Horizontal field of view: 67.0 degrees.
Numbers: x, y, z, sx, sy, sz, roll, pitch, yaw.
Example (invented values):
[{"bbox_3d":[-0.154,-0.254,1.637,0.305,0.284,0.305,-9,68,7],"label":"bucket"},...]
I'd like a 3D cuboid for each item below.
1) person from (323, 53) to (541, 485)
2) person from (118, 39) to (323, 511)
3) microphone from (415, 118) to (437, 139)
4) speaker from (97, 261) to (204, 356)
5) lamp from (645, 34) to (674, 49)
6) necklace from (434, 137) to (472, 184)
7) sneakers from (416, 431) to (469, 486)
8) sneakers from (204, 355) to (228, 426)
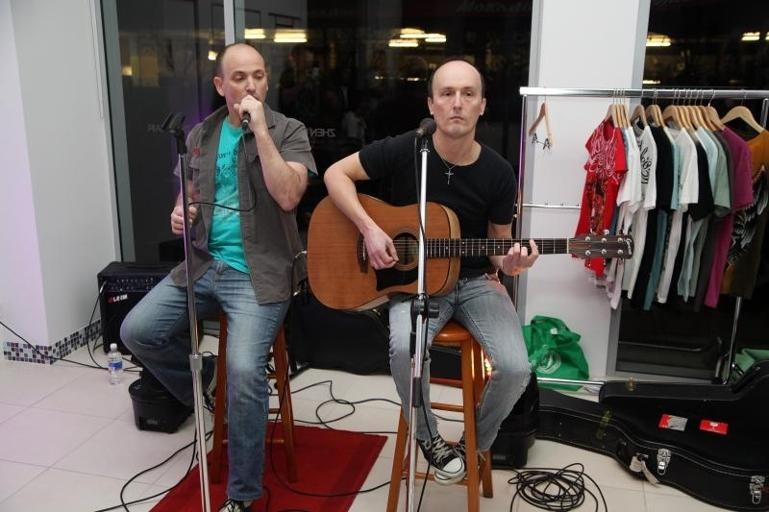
[{"bbox_3d":[0.307,0.104,3.313,0.958,2.349,0.853,-1,8,-4],"label":"person"},{"bbox_3d":[-0.902,0.072,3.394,0.962,2.483,0.976,10,19,29],"label":"person"},{"bbox_3d":[0.204,-0.617,2.833,0.076,0.088,0.181,1,19,0],"label":"microphone"},{"bbox_3d":[-1.936,0.270,4.973,0.849,0.975,0.678,-1,5,0],"label":"speaker"},{"bbox_3d":[1.968,-1.551,4.195,0.164,0.100,0.027,5,10,2],"label":"lamp"},{"bbox_3d":[0.381,-0.529,3.220,0.152,0.256,0.058,6,10,4],"label":"necklace"},{"bbox_3d":[0.317,1.118,3.271,0.139,0.160,0.387,-26,7,-12],"label":"sneakers"},{"bbox_3d":[-1.020,0.815,3.540,0.127,0.515,0.263,0,11,-8],"label":"sneakers"}]
